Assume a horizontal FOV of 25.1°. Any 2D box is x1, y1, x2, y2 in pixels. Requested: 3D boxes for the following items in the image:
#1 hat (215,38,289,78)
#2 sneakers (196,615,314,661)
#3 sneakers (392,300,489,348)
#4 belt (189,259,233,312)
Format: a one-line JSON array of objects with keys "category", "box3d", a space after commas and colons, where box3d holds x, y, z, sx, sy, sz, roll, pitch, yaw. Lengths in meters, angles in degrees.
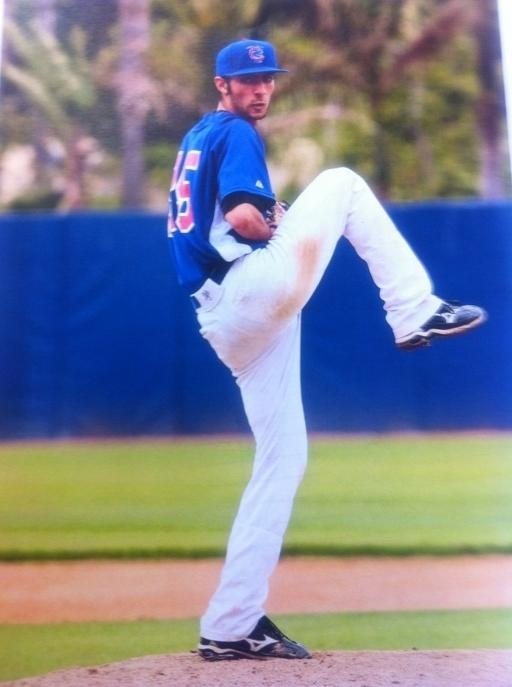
[{"category": "hat", "box3d": [-0.018, -0.753, 3.057, 0.113, 0.056, 0.145, -8, 12, -30]}, {"category": "sneakers", "box3d": [0.004, 0.776, 3.011, 0.320, 0.121, 0.104, 1, -12, -5]}, {"category": "sneakers", "box3d": [0.499, -0.048, 3.065, 0.258, 0.126, 0.096, -21, 3, -4]}, {"category": "belt", "box3d": [-0.125, -0.151, 2.970, 0.041, 0.139, 0.132, -4, 18, -41]}]
